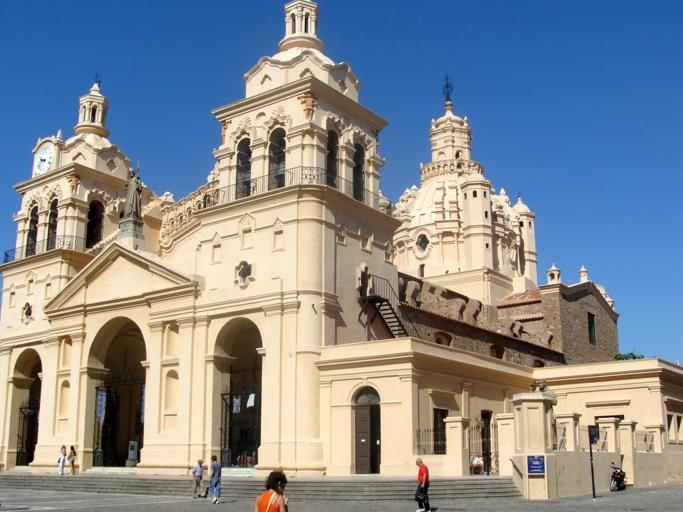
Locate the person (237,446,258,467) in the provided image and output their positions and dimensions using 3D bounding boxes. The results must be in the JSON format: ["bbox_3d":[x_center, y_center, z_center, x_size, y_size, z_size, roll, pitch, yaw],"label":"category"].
[{"bbox_3d":[-5.037,10.803,40.619,0.785,1.169,0.910,-35,-50,28],"label":"person"}]

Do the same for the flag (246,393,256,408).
[{"bbox_3d":[-4.673,7.458,39.119,0.431,0.594,1.077,3,-23,-8],"label":"flag"}]

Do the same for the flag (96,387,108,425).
[{"bbox_3d":[-13.941,8.646,43.736,0.536,2.064,0.681,4,-23,-12],"label":"flag"}]

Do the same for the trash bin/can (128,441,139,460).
[{"bbox_3d":[-11.912,11.115,43.181,0.485,1.014,1.380,5,-23,-14],"label":"trash bin/can"}]

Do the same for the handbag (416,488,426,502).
[{"bbox_3d":[2.671,8.022,25.310,0.507,0.520,0.239,-11,-25,33],"label":"handbag"}]

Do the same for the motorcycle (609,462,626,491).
[{"bbox_3d":[12.052,9.762,32.927,0.618,0.737,1.282,-2,-39,32],"label":"motorcycle"}]

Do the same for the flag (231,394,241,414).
[{"bbox_3d":[-5.439,7.598,39.065,0.409,0.873,0.327,-6,-23,13],"label":"flag"}]
